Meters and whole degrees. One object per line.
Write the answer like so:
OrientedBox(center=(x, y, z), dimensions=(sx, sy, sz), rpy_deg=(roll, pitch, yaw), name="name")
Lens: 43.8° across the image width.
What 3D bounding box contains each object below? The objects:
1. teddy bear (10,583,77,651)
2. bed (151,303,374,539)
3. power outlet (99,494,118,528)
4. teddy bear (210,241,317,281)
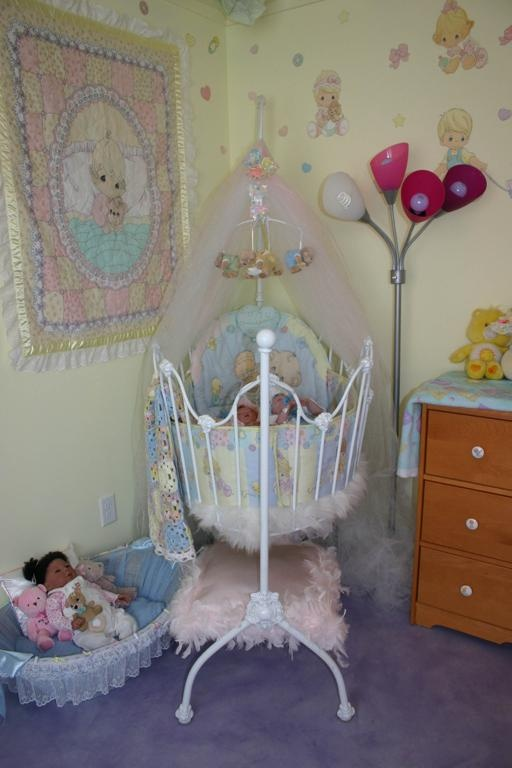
OrientedBox(center=(-0.643, 0.700, 1.924), dimensions=(0.164, 0.154, 0.088), rpy_deg=(7, 14, 34), name="teddy bear")
OrientedBox(center=(0.045, 0.083, 2.202), dimensions=(0.648, 0.568, 0.858), rpy_deg=(-1, 18, 2), name="bed")
OrientedBox(center=(-0.548, 0.465, 2.360), dimensions=(0.013, 0.135, 0.117), rpy_deg=(2, 10, 21), name="power outlet")
OrientedBox(center=(0.034, -0.381, 2.002), dimensions=(0.317, 0.091, 0.284), rpy_deg=(-10, 15, -38), name="teddy bear")
